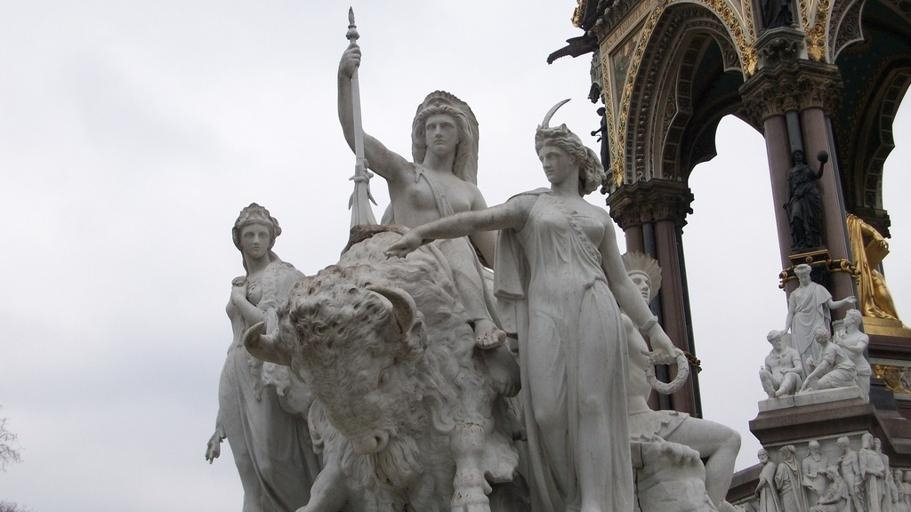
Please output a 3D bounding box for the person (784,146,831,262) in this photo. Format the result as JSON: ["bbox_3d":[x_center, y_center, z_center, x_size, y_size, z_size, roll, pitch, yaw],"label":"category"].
[{"bbox_3d":[9.458,-1.531,31.880,1.086,2.917,0.754,-6,-29,16],"label":"person"}]
